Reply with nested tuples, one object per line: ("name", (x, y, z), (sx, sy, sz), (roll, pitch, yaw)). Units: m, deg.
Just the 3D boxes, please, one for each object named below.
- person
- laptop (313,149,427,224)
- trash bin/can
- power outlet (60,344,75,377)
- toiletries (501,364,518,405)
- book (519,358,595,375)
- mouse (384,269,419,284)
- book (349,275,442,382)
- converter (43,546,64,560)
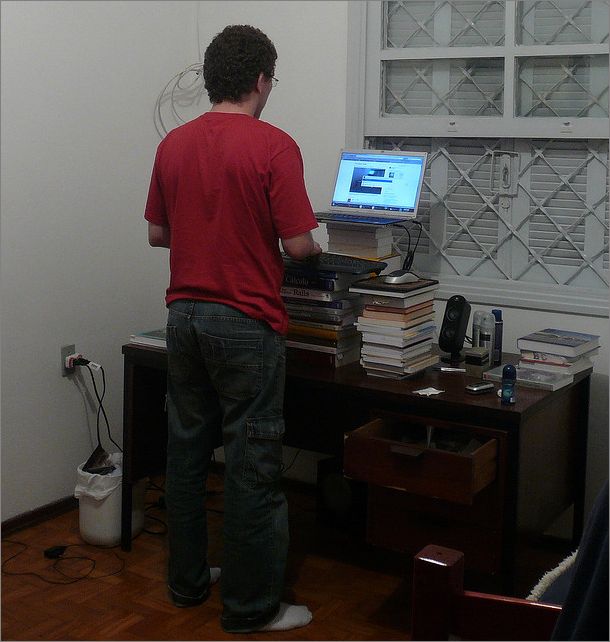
("person", (-0.238, 0.174, 1.940), (0.551, 1.567, 0.319), (5, 7, 35))
("laptop", (0.257, -0.503, 2.354), (0.357, 0.274, 0.308), (9, 14, 30))
("trash bin/can", (-0.757, 0.697, 2.579), (0.274, 0.337, 0.288), (1, 2, 12))
("power outlet", (-1.022, 0.170, 2.705), (0.016, 0.139, 0.071), (3, 7, 23))
("toiletries", (0.579, 0.178, 1.784), (0.037, 0.092, 0.123), (3, 7, 18))
("book", (0.834, 0.147, 2.035), (0.105, 0.024, 0.102), (-10, 13, -40))
("mouse", (0.326, -0.155, 2.108), (0.089, 0.032, 0.050), (-8, 11, -42))
("book", (0.300, -0.009, 2.124), (0.291, 0.434, 0.305), (-1, 10, 38))
("converter", (-0.957, 0.878, 2.402), (0.051, 0.027, 0.036), (-3, 0, -39))
